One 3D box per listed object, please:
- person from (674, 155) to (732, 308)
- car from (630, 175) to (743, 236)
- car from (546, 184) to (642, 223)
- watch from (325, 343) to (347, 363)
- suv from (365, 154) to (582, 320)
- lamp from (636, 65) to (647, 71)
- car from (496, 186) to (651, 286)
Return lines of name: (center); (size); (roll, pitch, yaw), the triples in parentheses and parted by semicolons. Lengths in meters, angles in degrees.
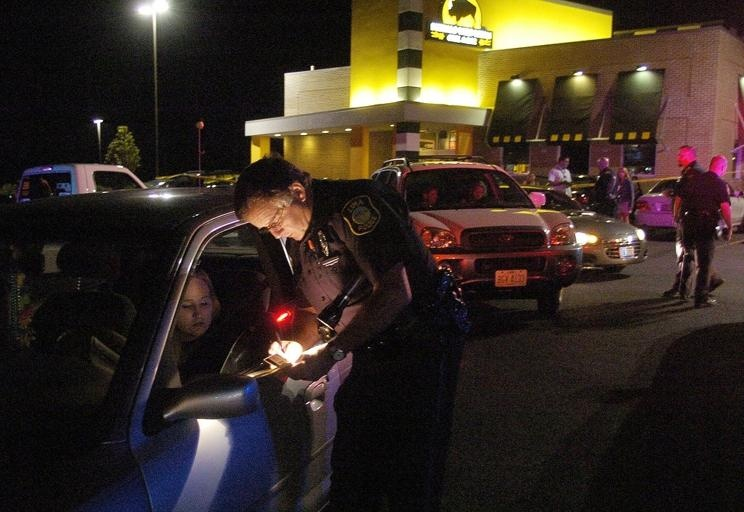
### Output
person: (5.002, -0.278, 8.254); (0.520, 2.054, 0.785); (-7, 11, -42)
car: (6.960, -1.036, 12.095); (3.791, 1.243, 1.570); (-14, 14, -39)
car: (5.014, -1.199, 12.405); (2.777, 0.948, 1.184); (-8, 11, -23)
watch: (-0.136, 0.381, 2.139); (0.061, 0.044, 0.081); (3, -15, -5)
suv: (1.394, -0.476, 8.641); (2.001, 1.708, 3.284); (-1, 4, -14)
lamp: (12.301, -8.429, 24.605); (0.443, 0.263, 0.111); (5, 10, 26)
car: (3.952, -0.560, 11.033); (1.408, 1.052, 3.147); (-5, 9, -23)
